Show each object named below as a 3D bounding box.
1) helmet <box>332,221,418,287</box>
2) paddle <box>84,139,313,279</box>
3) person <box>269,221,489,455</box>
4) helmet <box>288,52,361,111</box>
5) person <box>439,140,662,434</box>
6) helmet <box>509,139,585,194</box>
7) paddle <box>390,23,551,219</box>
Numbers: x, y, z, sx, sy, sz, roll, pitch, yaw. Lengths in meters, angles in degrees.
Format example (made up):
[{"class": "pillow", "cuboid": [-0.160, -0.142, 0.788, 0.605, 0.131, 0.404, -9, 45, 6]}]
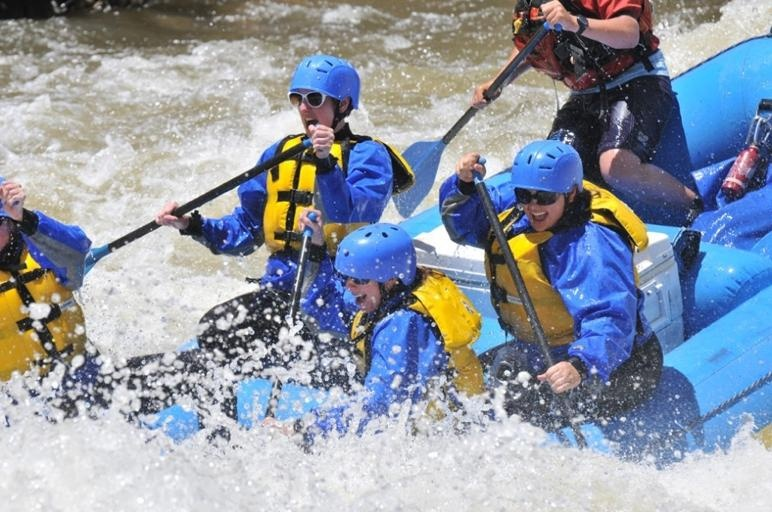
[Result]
[{"class": "helmet", "cuboid": [-0.095, 0.005, 7.136, 0.488, 0.347, 0.352, -10, 15, -13]}, {"class": "paddle", "cuboid": [-1.643, -0.349, 8.991, 2.250, 0.537, 0.112, -28, 36, -5]}, {"class": "person", "cuboid": [0.099, 0.526, 7.070, 1.136, 0.916, 1.077, 3, 46, -8]}, {"class": "helmet", "cuboid": [-0.409, -1.276, 7.734, 0.349, 0.454, 0.260, 13, 75, 44]}, {"class": "person", "cuboid": [1.104, 0.299, 7.273, 1.008, 1.459, 1.343, -29, 41, -11]}, {"class": "helmet", "cuboid": [1.084, -0.609, 7.161, 0.344, 0.441, 0.276, 11, 76, 30]}, {"class": "paddle", "cuboid": [0.786, -1.244, 9.971, 0.150, 2.885, 0.608, -4, 55, -49]}]
